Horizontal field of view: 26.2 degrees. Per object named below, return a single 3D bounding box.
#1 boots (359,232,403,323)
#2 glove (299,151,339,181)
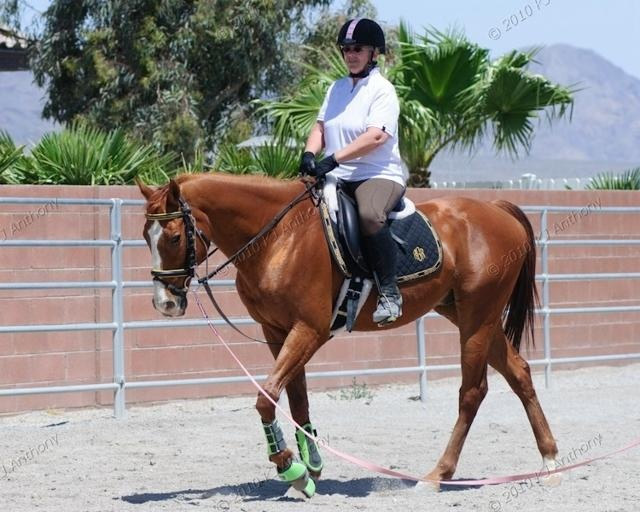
[{"bbox_3d":[0.723,0.254,15.871,0.439,1.117,0.323,0,14,0],"label":"boots"},{"bbox_3d":[-0.001,-1.016,15.882,0.456,0.288,0.241,1,14,1],"label":"glove"}]
